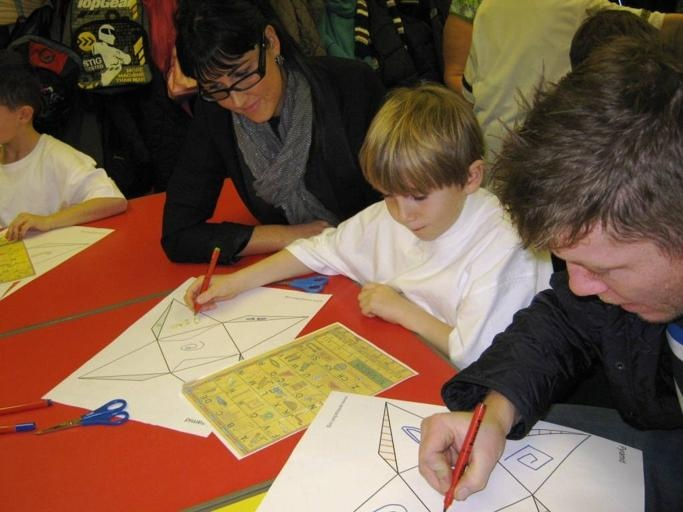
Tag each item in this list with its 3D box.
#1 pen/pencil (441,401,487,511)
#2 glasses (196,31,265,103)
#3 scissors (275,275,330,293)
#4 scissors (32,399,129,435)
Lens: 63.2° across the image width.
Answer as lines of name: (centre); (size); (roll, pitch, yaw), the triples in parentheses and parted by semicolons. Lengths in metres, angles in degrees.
pen/pencil: (0.222, 0.373, 1.012); (0.018, 0.018, 0.180); (21, 72, 6)
glasses: (-0.294, -0.542, 1.650); (0.191, 0.052, 0.193); (-17, 32, 52)
scissors: (-0.106, 0.075, 1.553); (0.094, 0.018, 0.058); (3, 31, 11)
scissors: (-0.539, 0.336, 1.158); (0.170, 0.019, 0.072); (-9, 42, -8)
